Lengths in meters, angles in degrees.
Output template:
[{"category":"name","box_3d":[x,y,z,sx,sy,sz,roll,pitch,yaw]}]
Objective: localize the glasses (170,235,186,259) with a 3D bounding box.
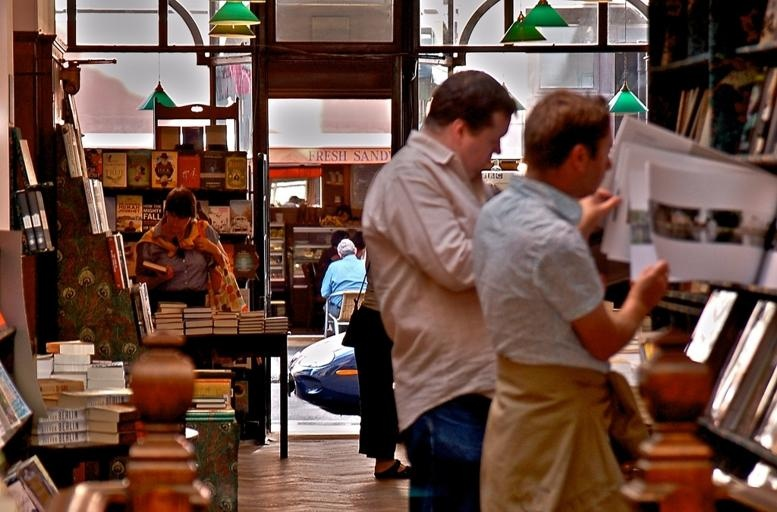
[{"category":"glasses","box_3d":[-1.699,-0.079,7.468,0.133,0.140,0.043,24,31,14]}]

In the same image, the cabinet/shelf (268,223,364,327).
[{"category":"cabinet/shelf","box_3d":[-0.999,0.274,11.975,1.348,1.422,0.673,0,-6,-2]}]

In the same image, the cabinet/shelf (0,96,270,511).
[{"category":"cabinet/shelf","box_3d":[-1.635,0.265,5.970,1.973,1.674,2.858,-1,1,-2]}]

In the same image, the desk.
[{"category":"desk","box_3d":[-1.152,0.945,7.239,0.779,0.756,0.800,1,-2,0]}]
